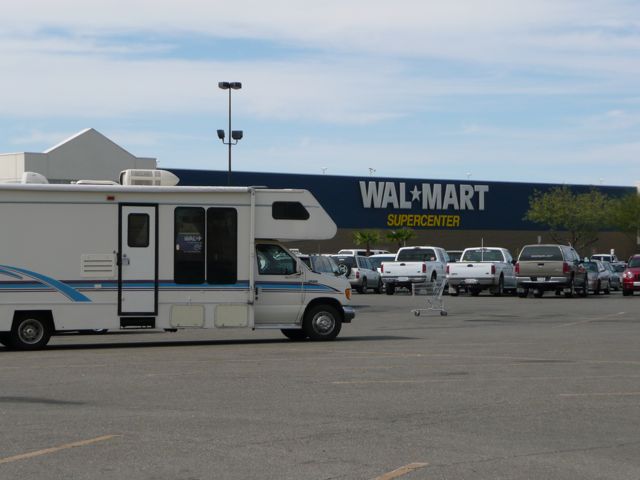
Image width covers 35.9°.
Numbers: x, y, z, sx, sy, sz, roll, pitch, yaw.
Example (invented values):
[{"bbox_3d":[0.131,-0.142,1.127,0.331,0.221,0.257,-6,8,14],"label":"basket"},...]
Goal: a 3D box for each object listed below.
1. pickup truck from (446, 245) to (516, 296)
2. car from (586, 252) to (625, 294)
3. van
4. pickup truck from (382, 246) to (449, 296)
[{"bbox_3d":[6.503,1.224,39.352,2.413,1.939,3.228,-1,-2,16],"label":"pickup truck"},{"bbox_3d":[13.487,1.708,45.176,2.283,1.921,4.754,0,5,10],"label":"car"},{"bbox_3d":[8.738,1.015,36.848,2.504,2.183,3.005,-1,-1,24],"label":"van"},{"bbox_3d":[3.502,1.227,40.335,2.520,2.016,2.952,0,1,19],"label":"pickup truck"}]
